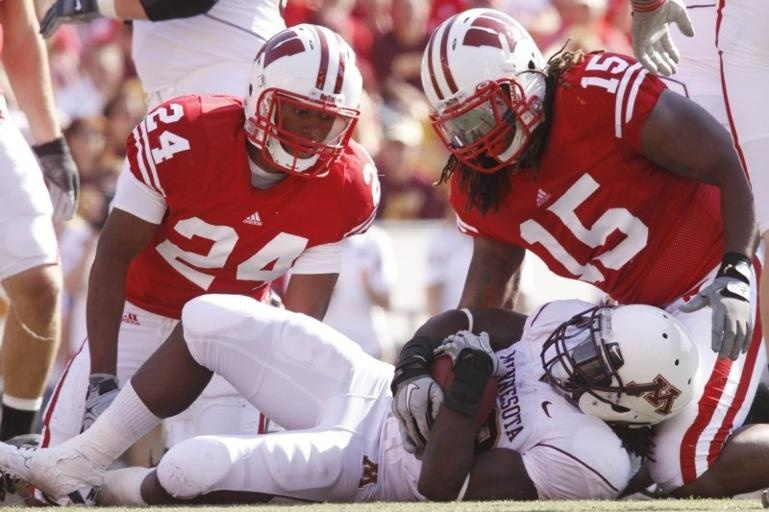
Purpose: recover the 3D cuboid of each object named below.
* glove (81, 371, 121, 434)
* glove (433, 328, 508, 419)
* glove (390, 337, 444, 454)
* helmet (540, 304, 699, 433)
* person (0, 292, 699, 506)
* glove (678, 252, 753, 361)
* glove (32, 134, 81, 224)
[{"bbox_3d":[-0.913,0.479,3.204,0.086,0.063,0.192,39,57,-15],"label":"glove"},{"bbox_3d":[0.239,0.338,2.971,0.203,0.261,0.118,7,1,15],"label":"glove"},{"bbox_3d":[0.102,0.408,3.045,0.102,0.181,0.298,8,36,7],"label":"glove"},{"bbox_3d":[0.704,0.291,3.038,0.403,0.328,0.332,-4,25,-1],"label":"helmet"},{"bbox_3d":[-0.005,0.440,3.149,1.433,0.571,0.959,10,4,4],"label":"person"},{"bbox_3d":[1.014,0.145,2.946,0.193,0.267,0.275,22,24,28],"label":"glove"},{"bbox_3d":[-1.285,-0.314,3.978,0.082,0.309,0.230,-6,7,36],"label":"glove"}]
